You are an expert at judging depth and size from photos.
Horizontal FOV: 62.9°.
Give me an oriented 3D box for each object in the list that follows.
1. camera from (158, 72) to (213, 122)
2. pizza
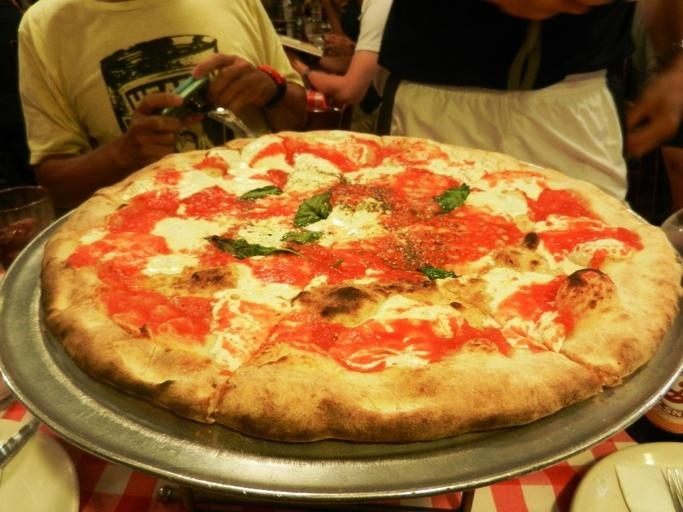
[{"bbox_3d":[-0.795,-0.825,2.942,0.085,0.247,0.262,26,16,-34],"label":"camera"},{"bbox_3d":[0.068,0.048,2.260,2.421,0.542,1.424,5,60,0],"label":"pizza"}]
